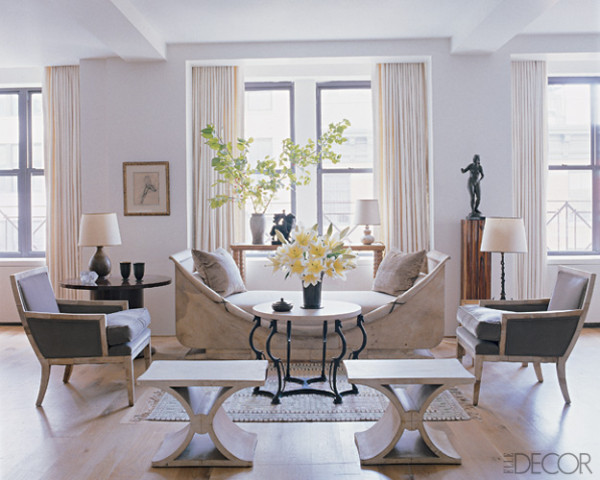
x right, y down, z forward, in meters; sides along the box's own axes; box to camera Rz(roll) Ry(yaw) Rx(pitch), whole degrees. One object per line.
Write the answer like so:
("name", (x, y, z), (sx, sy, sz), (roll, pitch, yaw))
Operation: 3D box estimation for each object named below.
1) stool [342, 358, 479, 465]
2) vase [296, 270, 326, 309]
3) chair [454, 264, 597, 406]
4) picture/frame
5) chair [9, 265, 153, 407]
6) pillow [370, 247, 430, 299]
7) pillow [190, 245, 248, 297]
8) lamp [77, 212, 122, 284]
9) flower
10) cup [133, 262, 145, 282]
("stool", (0.738, 1.179, 3.770), (0.824, 0.562, 0.468), (0, 1, -4))
("vase", (0.051, 0.422, 4.502), (0.245, 0.302, 0.254), (0, -3, -5))
("chair", (1.856, 0.744, 4.476), (0.952, 1.002, 0.652), (0, 12, 3))
("picture/frame", (-1.693, -0.589, 6.120), (0.604, 0.687, 0.046), (0, -1, -1))
("chair", (-1.837, 0.758, 4.637), (0.970, 0.992, 0.744), (1, 5, -1))
("pillow", (0.986, 0.339, 5.630), (0.290, 0.499, 0.657), (7, 2, -23))
("pillow", (-0.813, 0.345, 5.660), (0.364, 0.529, 0.698), (-11, -7, 15))
("lamp", (-1.962, 0.064, 5.347), (0.508, 0.639, 0.501), (0, -2, -45))
("flower", (0.107, 0.122, 4.555), (0.540, 0.347, 0.547), (-1, 8, -2))
("cup", (-1.552, 0.307, 5.305), (0.156, 0.202, 0.157), (0, -4, 0))
